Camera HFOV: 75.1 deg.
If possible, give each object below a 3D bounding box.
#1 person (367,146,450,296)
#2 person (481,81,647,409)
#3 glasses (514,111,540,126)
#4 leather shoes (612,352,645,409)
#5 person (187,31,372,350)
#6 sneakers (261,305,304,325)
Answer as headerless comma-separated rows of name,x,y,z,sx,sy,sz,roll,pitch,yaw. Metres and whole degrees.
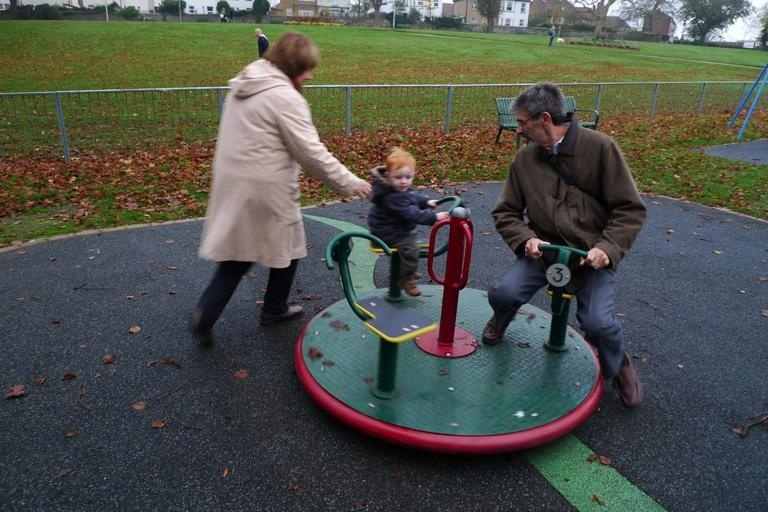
person,0.323,-0.299,5.037,0.894,1.365,0.817,-10,18,-24
person,1.554,-0.104,4.101,1.504,2.407,0.799,17,30,25
glasses,1.135,-1.089,3.979,0.146,0.069,0.129,-16,23,-7
leather shoes,2.010,1.009,4.169,0.193,0.467,0.232,-19,-14,37
person,-1.057,-0.503,4.407,1.397,2.708,0.691,-6,29,-18
sneakers,-1.029,0.570,5.102,0.426,0.160,0.153,-15,35,-29
